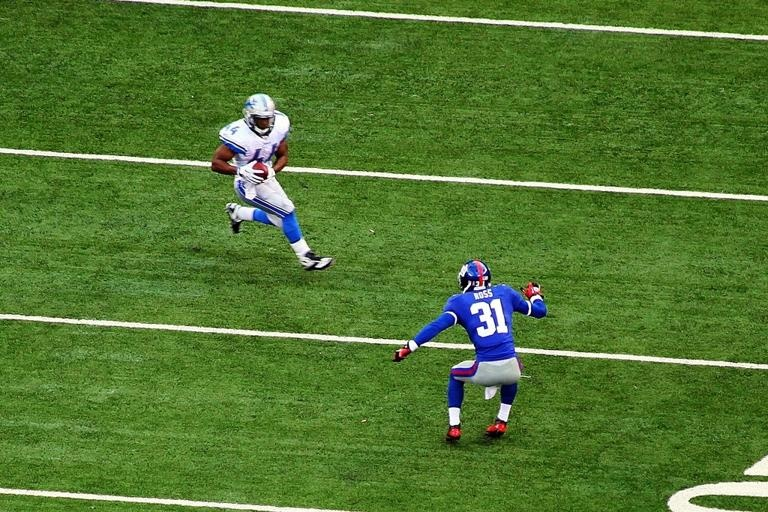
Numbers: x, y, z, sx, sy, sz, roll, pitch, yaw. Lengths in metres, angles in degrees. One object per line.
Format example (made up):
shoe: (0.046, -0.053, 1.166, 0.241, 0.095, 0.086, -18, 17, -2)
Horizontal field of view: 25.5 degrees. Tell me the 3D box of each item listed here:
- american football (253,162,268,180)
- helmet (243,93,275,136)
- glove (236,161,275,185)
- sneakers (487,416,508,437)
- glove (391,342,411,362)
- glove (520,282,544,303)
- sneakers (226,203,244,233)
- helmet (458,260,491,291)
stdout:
american football: (-1.766, -1.206, 24.069, 0.233, 0.200, 0.280, -7, 46, -3)
helmet: (-1.798, -2.045, 24.258, 0.469, 0.434, 0.532, -14, 32, -38)
glove: (-1.847, -1.160, 24.078, 0.428, 0.195, 0.353, 1, 2, 42)
sneakers: (1.460, 2.364, 23.264, 0.199, 0.199, 0.330, 18, -6, -22)
glove: (0.221, 1.315, 23.038, 0.182, 0.380, 0.116, 0, 67, -27)
glove: (2.032, 0.523, 23.624, 0.226, 0.116, 0.297, 0, 24, 3)
sneakers: (-2.201, -0.520, 24.924, 0.273, 0.460, 0.184, -4, 12, -1)
helmet: (1.238, 0.294, 23.331, 0.486, 0.482, 0.527, -5, 16, -6)
